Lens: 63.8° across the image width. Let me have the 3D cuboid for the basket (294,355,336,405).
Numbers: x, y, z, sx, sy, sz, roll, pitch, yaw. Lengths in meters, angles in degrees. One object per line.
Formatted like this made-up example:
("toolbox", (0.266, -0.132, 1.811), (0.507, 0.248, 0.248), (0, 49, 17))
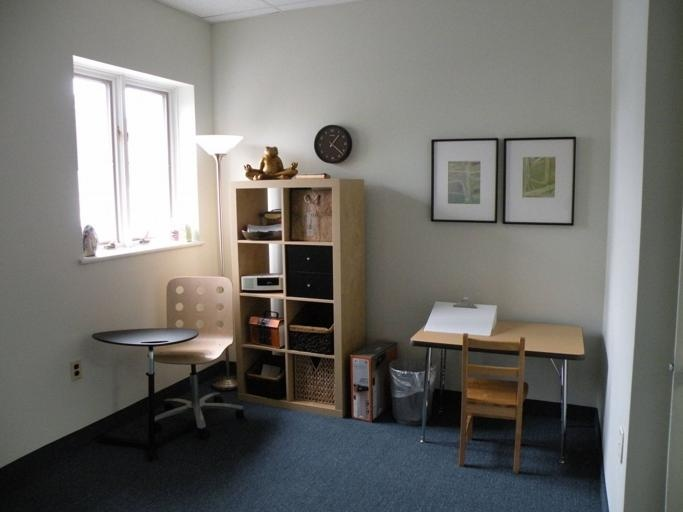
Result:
("basket", (-0.219, 1.031, 4.493), (0.366, 0.373, 0.102), (11, 5, 24))

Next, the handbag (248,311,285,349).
("handbag", (-0.609, 0.602, 4.613), (0.291, 0.282, 0.190), (4, 10, 27))

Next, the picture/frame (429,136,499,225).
("picture/frame", (0.991, -0.608, 4.310), (0.620, 0.848, 0.051), (2, 6, 20))

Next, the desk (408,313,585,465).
("desk", (1.149, 0.963, 4.007), (1.050, 0.759, 0.806), (2, 4, 17))

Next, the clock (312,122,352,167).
("clock", (-0.133, -0.907, 4.526), (0.297, 0.331, 0.064), (5, 6, 28))

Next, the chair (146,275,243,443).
("chair", (-1.136, 0.735, 4.276), (0.628, 1.097, 0.646), (1, 3, 16))

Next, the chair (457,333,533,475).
("chair", (1.073, 0.903, 3.883), (0.482, 0.932, 0.770), (4, 15, 18))

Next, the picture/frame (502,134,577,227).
("picture/frame", (1.498, -0.557, 4.145), (0.491, 0.713, 0.022), (4, 36, 23))

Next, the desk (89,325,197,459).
("desk", (-1.374, 1.005, 4.191), (0.742, 0.936, 0.874), (2, 5, 3))

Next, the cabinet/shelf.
("cabinet/shelf", (-0.363, 0.272, 4.584), (1.068, 1.868, 0.636), (4, 14, 18))
